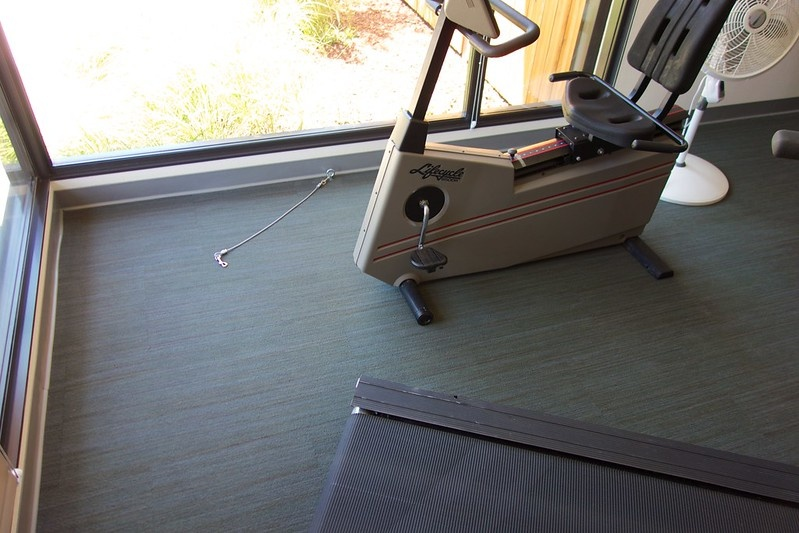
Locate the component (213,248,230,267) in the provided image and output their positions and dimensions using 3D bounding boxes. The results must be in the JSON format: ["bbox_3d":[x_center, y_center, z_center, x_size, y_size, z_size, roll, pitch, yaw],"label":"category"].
[{"bbox_3d":[-0.998,-0.047,3.173,0.093,0.022,0.090,-30,60,-34],"label":"component"}]
